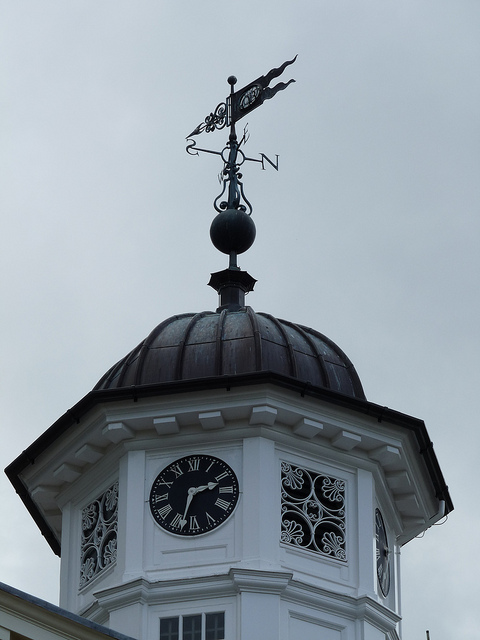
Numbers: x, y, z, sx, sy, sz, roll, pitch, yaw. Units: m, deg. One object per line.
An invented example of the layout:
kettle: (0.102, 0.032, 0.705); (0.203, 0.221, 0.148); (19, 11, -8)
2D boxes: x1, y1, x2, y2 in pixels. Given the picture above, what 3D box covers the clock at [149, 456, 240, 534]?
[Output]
clock: (-0.646, 2.705, 31.061); (0.997, 1.125, 0.097); (11, -36, 24)
